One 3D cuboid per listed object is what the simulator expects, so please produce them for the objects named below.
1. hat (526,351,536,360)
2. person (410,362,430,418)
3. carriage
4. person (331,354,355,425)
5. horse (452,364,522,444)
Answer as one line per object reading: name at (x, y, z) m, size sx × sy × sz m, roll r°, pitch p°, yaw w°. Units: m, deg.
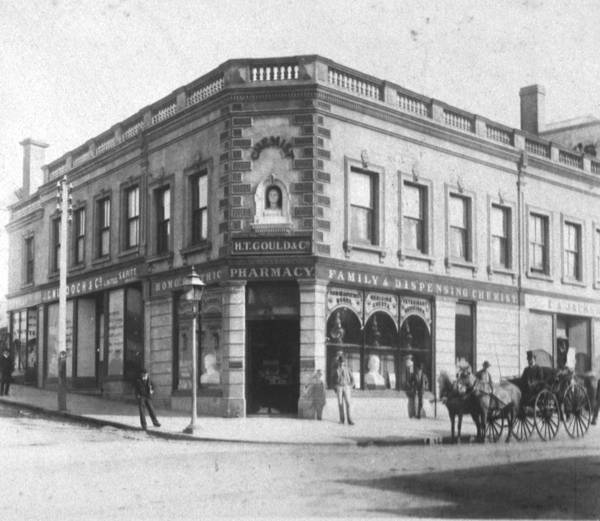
hat at (5.705, 2.383, 31.753) m, size 0.204 × 0.245 × 0.237 m, roll 0°, pitch -21°, yaw 7°
person at (3.092, 3.359, 33.332) m, size 0.430 × 1.315 × 0.668 m, roll -3°, pitch 8°, yaw -33°
carriage at (5.222, 3.484, 31.502) m, size 3.405 × 1.884 × 1.766 m, roll 4°, pitch -14°, yaw -18°
person at (1.198, 3.419, 34.381) m, size 0.484 × 1.611 × 1.403 m, roll 1°, pitch 6°, yaw 0°
horse at (4.677, 3.398, 31.253) m, size 1.917 × 1.675 × 0.616 m, roll 2°, pitch 6°, yaw -24°
